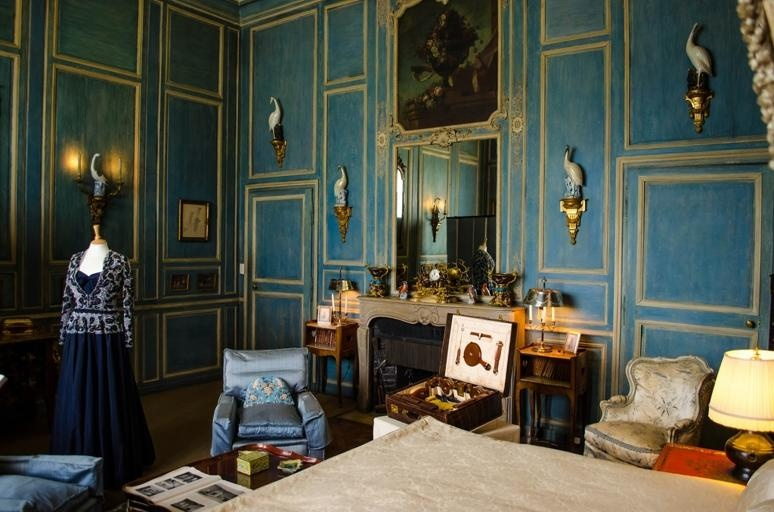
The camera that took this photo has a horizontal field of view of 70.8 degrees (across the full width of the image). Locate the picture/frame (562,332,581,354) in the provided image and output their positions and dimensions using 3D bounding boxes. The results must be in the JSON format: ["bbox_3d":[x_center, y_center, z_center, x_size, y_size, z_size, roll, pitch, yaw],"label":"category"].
[{"bbox_3d":[1.791,0.855,5.276,0.036,0.217,0.152,18,-5,-34],"label":"picture/frame"}]

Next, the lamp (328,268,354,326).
[{"bbox_3d":[-0.572,0.489,6.584,0.384,0.623,0.395,0,0,-13],"label":"lamp"}]

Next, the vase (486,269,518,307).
[{"bbox_3d":[1.189,0.326,5.688,0.351,0.385,0.300,4,15,17],"label":"vase"}]

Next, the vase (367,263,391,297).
[{"bbox_3d":[-0.093,0.317,6.445,0.375,0.447,0.307,-3,-6,37],"label":"vase"}]

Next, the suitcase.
[{"bbox_3d":[0.569,0.866,4.342,1.035,0.813,0.685,-3,4,-45],"label":"suitcase"}]

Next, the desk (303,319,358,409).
[{"bbox_3d":[-0.686,1.242,6.594,0.575,0.915,0.373,5,8,32],"label":"desk"}]

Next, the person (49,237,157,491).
[{"bbox_3d":[-2.540,0.951,4.732,0.755,2.072,0.680,-6,9,-19],"label":"person"}]

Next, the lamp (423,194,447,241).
[{"bbox_3d":[0.550,-0.397,6.006,0.225,0.492,0.052,5,12,39],"label":"lamp"}]

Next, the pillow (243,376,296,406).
[{"bbox_3d":[-1.065,1.223,4.862,0.247,0.106,0.372,13,10,-6],"label":"pillow"}]

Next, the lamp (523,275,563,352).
[{"bbox_3d":[1.543,0.594,5.441,0.350,0.730,0.363,1,1,2],"label":"lamp"}]

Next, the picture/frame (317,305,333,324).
[{"bbox_3d":[-0.761,0.722,6.602,0.174,0.218,0.062,1,3,29],"label":"picture/frame"}]

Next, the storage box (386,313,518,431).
[{"bbox_3d":[0.508,0.889,4.215,0.900,0.708,0.628,-7,8,-43],"label":"storage box"}]

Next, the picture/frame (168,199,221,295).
[{"bbox_3d":[-2.550,-0.103,7.086,0.171,1.246,0.670,4,11,35],"label":"picture/frame"}]

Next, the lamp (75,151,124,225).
[{"bbox_3d":[-3.356,-0.781,6.386,0.194,0.840,0.517,4,11,36],"label":"lamp"}]

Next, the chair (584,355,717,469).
[{"bbox_3d":[2.199,1.431,4.595,0.908,1.127,0.758,3,2,-29],"label":"chair"}]

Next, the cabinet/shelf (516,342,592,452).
[{"bbox_3d":[1.580,1.438,5.321,0.537,0.994,0.350,3,3,36],"label":"cabinet/shelf"}]

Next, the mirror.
[{"bbox_3d":[0.692,-0.453,6.010,1.697,2.399,0.089,-2,-4,30],"label":"mirror"}]
